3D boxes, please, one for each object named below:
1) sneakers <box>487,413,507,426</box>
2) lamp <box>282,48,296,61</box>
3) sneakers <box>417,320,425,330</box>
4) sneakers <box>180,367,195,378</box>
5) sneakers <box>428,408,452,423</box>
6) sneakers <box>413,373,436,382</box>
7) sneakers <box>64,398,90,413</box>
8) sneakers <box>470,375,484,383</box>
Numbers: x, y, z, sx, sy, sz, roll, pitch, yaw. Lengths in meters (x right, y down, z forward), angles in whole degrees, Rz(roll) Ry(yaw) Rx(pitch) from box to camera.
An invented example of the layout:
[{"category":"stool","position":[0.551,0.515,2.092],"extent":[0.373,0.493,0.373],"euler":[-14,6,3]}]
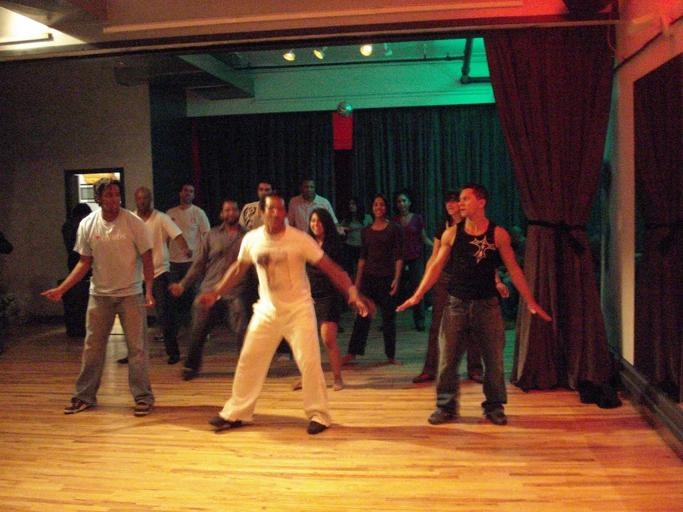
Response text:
[{"category":"sneakers","position":[1.374,1.432,5.881],"extent":[0.077,0.074,0.176],"euler":[-1,-7,-14]},{"category":"lamp","position":[-0.773,-3.025,10.043],"extent":[0.202,0.228,0.069],"euler":[0,3,7]},{"category":"sneakers","position":[1.122,0.972,9.398],"extent":[0.069,0.149,0.153],"euler":[1,-36,1]},{"category":"sneakers","position":[-1.659,1.253,7.225],"extent":[0.126,0.127,0.104],"euler":[-2,-13,13]},{"category":"sneakers","position":[0.879,1.415,5.949],"extent":[0.242,0.120,0.092],"euler":[2,-4,-23]},{"category":"sneakers","position":[0.859,1.262,6.959],"extent":[0.250,0.113,0.089],"euler":[-1,-1,-9]},{"category":"sneakers","position":[-2.500,1.423,6.354],"extent":[0.095,0.120,0.271],"euler":[0,-9,15]},{"category":"sneakers","position":[1.408,1.267,6.920],"extent":[0.069,0.079,0.174],"euler":[4,-10,-39]}]
